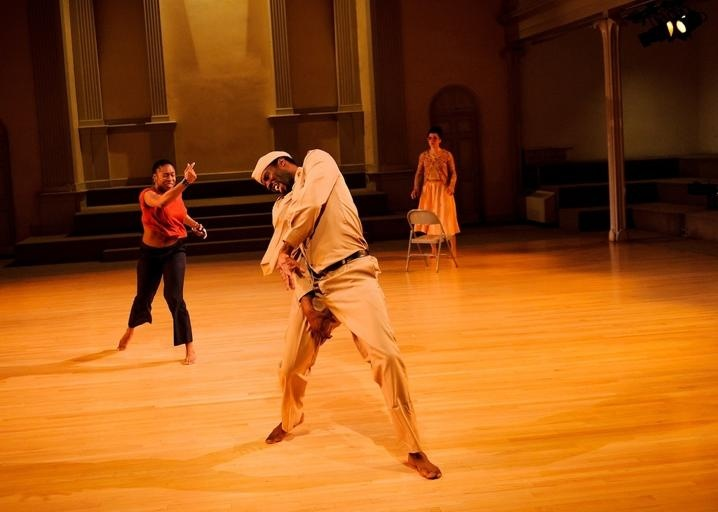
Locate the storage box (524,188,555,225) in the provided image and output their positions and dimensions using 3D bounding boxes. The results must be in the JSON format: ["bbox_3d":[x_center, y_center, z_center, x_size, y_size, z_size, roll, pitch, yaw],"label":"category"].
[{"bbox_3d":[3.776,-1.031,12.541,0.320,0.630,0.612,-1,-16,-21],"label":"storage box"}]

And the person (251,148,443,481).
[{"bbox_3d":[-0.129,0.328,3.681,1.128,1.928,0.524,2,11,17],"label":"person"}]

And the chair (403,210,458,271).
[{"bbox_3d":[1.059,-0.249,8.962,0.618,0.946,0.704,-1,6,21],"label":"chair"}]

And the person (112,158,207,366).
[{"bbox_3d":[-1.906,0.042,5.792,0.864,1.911,1.459,-6,12,-22],"label":"person"}]
